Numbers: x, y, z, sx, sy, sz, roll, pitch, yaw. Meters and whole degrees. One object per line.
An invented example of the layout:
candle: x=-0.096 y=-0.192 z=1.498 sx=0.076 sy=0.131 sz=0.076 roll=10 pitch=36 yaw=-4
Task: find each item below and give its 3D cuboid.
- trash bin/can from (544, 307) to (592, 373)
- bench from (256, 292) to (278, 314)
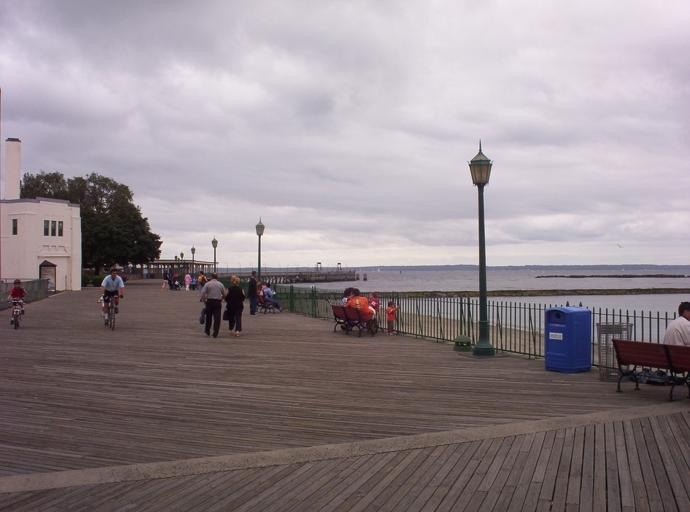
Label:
trash bin/can: x=4.365 y=1.611 z=13.657 sx=0.872 sy=1.259 sz=0.522 roll=1 pitch=3 yaw=18
bench: x=-3.290 y=1.982 z=30.271 sx=0.874 sy=1.197 sz=0.852 roll=-3 pitch=0 yaw=-18
